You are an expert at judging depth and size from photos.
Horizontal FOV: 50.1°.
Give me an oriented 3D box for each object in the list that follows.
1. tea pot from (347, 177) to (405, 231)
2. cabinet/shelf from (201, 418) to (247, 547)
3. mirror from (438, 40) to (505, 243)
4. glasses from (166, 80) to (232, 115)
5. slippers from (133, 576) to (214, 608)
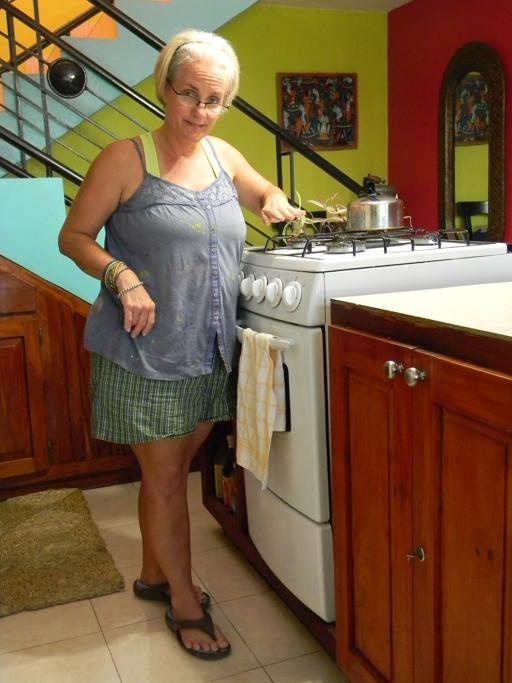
[{"bbox_3d":[0.309,-0.341,1.418,0.135,0.146,0.153,0,8,14],"label":"tea pot"},{"bbox_3d":[-0.103,0.437,2.008,0.170,0.303,0.228,-7,-6,-14],"label":"cabinet/shelf"},{"bbox_3d":[1.495,-1.373,3.815,0.106,1.335,0.629,-3,7,-17],"label":"mirror"},{"bbox_3d":[-0.121,-0.526,1.185,0.130,0.065,0.073,-3,7,-12],"label":"glasses"},{"bbox_3d":[-0.241,0.695,1.594,0.223,0.091,0.083,-3,-4,32],"label":"slippers"}]
